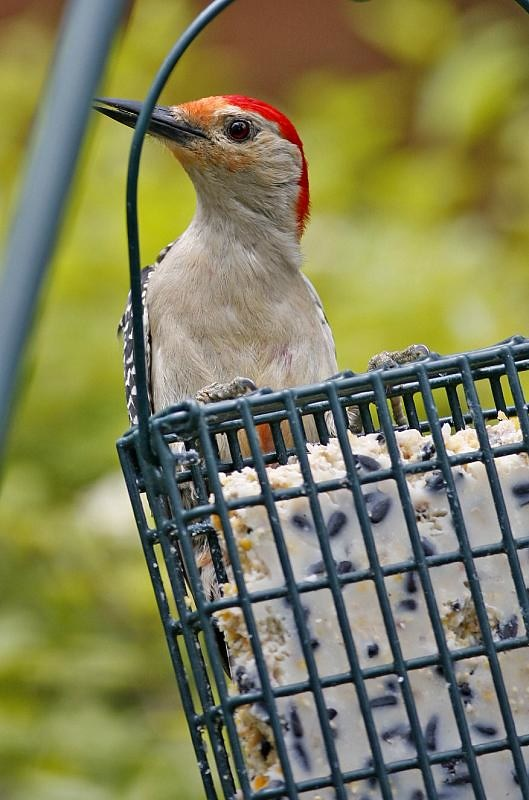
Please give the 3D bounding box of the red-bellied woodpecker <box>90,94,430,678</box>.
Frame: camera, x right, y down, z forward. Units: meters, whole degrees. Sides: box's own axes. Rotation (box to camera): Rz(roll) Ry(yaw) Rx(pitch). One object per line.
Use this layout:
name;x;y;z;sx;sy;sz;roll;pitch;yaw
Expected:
red-bellied woodpecker;-0.057;0.019;4.675;1.448;2.052;0.760;13;-23;-26
